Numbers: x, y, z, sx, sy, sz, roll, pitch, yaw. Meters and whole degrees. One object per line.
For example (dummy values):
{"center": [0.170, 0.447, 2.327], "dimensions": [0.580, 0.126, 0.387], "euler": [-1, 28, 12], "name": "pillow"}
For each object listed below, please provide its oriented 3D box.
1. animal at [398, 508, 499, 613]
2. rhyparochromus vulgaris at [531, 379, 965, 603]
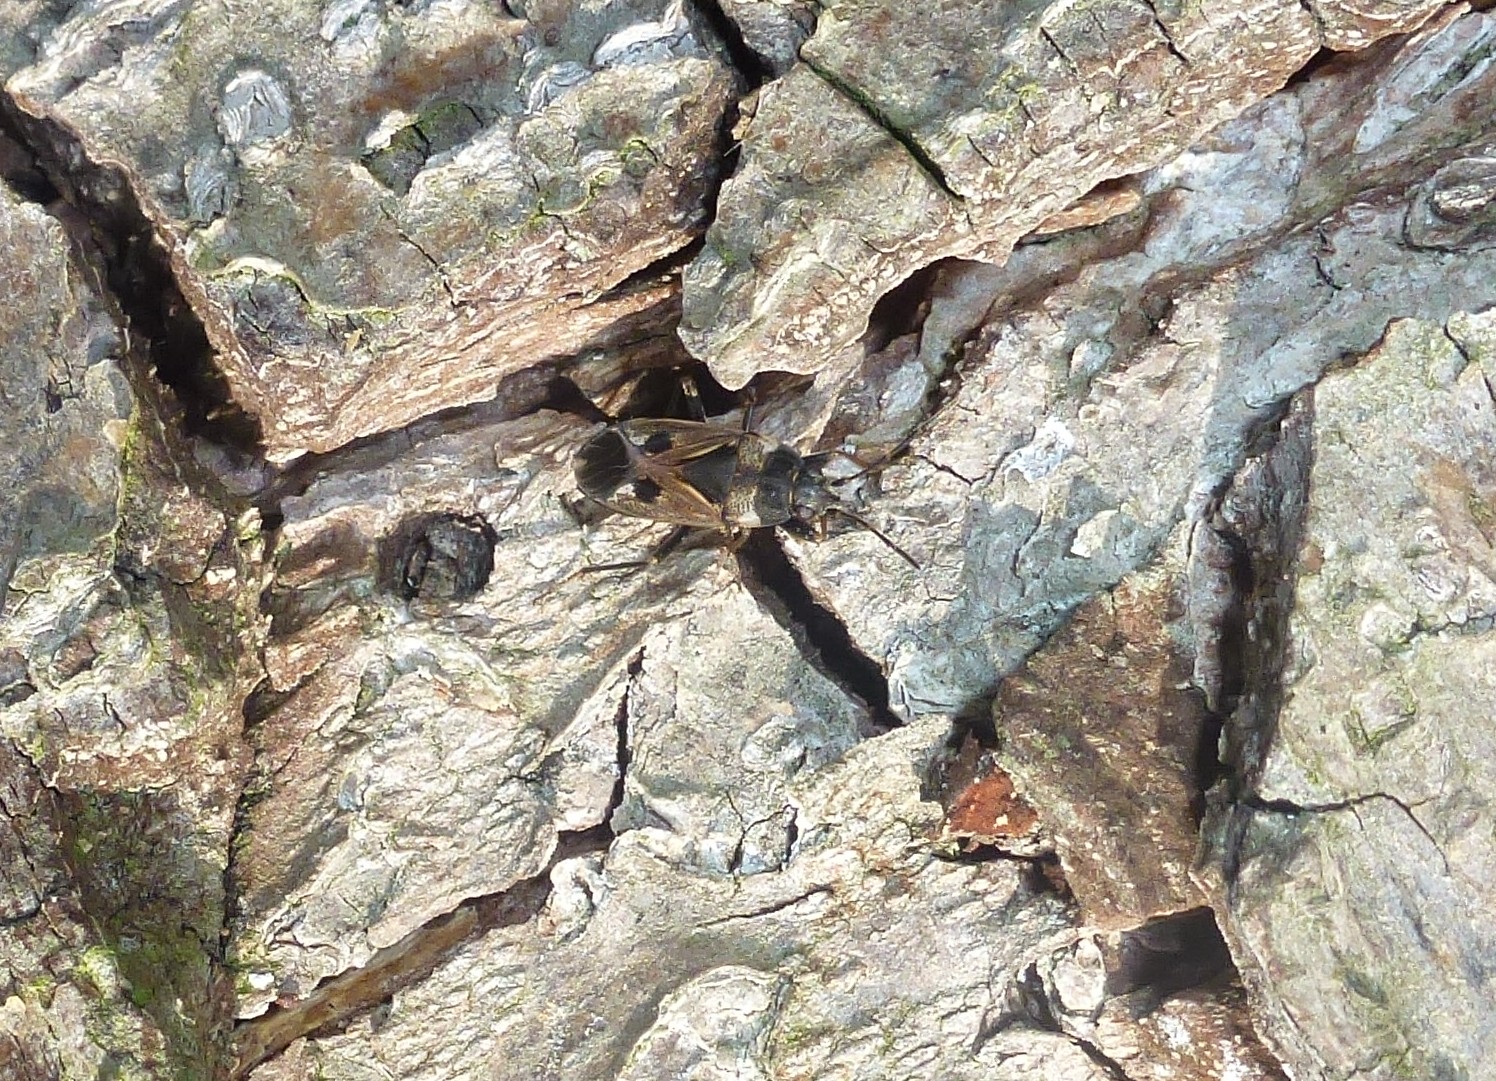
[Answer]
{"center": [-0.633, 0.047, 6.944], "dimensions": [0.159, 0.216, 0.083], "euler": [17, 0, 3], "name": "animal"}
{"center": [-0.011, -0.134, 6.983], "dimensions": [0.737, 0.394, 0.227], "euler": [1, 11, 2], "name": "rhyparochromus vulgaris"}
